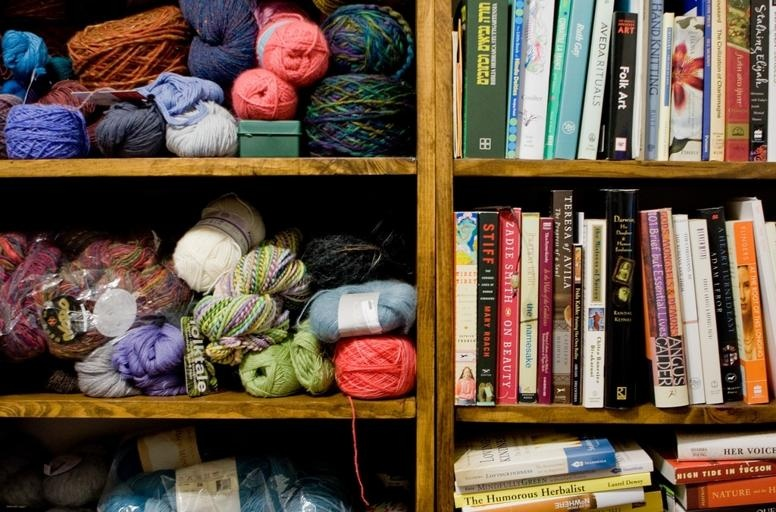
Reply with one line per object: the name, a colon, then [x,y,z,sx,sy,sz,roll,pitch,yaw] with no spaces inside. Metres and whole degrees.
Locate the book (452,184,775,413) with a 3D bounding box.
book: [0.439,0.096,1.663,0.807,0.703,0.446,1,-4,-3]
